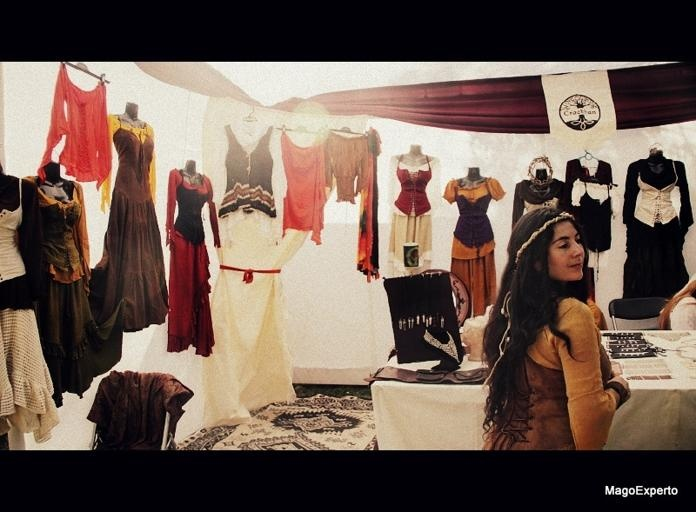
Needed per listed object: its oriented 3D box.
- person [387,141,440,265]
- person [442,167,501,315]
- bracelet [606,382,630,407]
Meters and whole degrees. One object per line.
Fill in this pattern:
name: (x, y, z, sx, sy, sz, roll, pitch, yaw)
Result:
person: (0.457, -0.271, 4.000, 0.300, 1.048, 0.294, 3, 23, 11)
person: (0.897, -0.081, 3.960, 0.387, 1.172, 0.278, -5, 31, 7)
bracelet: (1.739, 0.866, 3.655, 0.119, 0.177, 0.077, 13, -4, -5)
